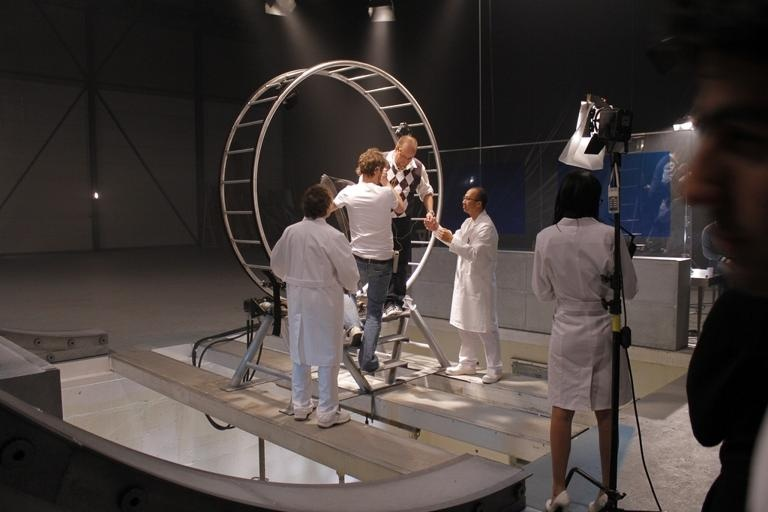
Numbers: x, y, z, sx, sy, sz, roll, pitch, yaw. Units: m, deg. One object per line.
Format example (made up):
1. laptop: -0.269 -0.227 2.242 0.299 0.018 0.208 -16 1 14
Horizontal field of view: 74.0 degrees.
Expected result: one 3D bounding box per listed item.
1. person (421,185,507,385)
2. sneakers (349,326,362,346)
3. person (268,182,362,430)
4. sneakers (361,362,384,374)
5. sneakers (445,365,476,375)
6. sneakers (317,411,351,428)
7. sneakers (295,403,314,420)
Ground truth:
1. person: 0.776 0.268 4.600 0.695 1.711 0.540 4 -4 -38
2. sneakers: -0.247 0.694 4.432 0.066 0.190 0.078 3 11 -24
3. person: -0.495 0.338 3.598 0.628 1.680 0.382 1 -3 4
4. sneakers: -0.109 0.982 4.485 0.129 0.087 0.174 0 -2 -14
5. sneakers: 0.715 1.066 4.781 0.293 0.131 0.109 3 -6 3
6. sneakers: -0.346 1.134 3.573 0.225 0.098 0.094 -10 14 -43
7. sneakers: -0.584 1.124 3.677 0.059 0.072 0.169 1 3 8
